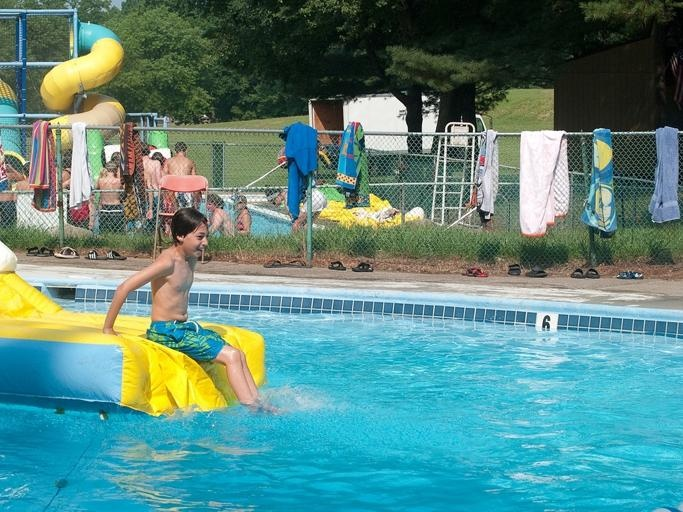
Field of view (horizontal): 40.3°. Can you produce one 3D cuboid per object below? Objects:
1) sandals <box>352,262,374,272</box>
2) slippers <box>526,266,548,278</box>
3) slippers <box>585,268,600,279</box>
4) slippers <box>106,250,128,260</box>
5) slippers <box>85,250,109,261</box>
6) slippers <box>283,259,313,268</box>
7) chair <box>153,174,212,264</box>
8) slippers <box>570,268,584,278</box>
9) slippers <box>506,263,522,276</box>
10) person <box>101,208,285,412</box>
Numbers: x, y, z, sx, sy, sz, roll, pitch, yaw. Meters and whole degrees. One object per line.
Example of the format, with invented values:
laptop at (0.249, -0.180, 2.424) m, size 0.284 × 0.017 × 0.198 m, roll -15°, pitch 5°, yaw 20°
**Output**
sandals at (0.320, 0.166, 13.536) m, size 0.269 × 0.134 × 0.144 m, roll 1°, pitch 1°, yaw 21°
slippers at (2.766, 0.231, 13.105) m, size 0.291 × 0.151 × 0.261 m, roll 2°, pitch 3°, yaw 10°
slippers at (3.537, 0.254, 13.046) m, size 0.162 × 0.158 × 0.128 m, roll 1°, pitch 3°, yaw 8°
slippers at (-3.481, -0.008, 14.084) m, size 0.139 × 0.106 × 0.267 m, roll -2°, pitch 4°, yaw -40°
slippers at (-3.769, 0.007, 14.097) m, size 0.289 × 0.113 × 0.184 m, roll 3°, pitch 1°, yaw 9°
slippers at (-0.695, 0.111, 13.965) m, size 0.389 × 0.115 × 0.568 m, roll 1°, pitch 3°, yaw -15°
chair at (-2.363, -0.534, 13.623) m, size 0.732 × 1.255 × 0.839 m, roll 1°, pitch 9°, yaw -12°
slippers at (3.339, 0.247, 13.105) m, size 0.185 × 0.124 × 0.350 m, roll 2°, pitch 3°, yaw 15°
slippers at (2.478, 0.202, 13.303) m, size 0.151 × 0.137 × 0.174 m, roll -2°, pitch -1°, yaw 40°
person at (-1.441, 0.471, 8.510) m, size 1.415 × 1.818 × 0.552 m, roll 1°, pitch 3°, yaw -16°
